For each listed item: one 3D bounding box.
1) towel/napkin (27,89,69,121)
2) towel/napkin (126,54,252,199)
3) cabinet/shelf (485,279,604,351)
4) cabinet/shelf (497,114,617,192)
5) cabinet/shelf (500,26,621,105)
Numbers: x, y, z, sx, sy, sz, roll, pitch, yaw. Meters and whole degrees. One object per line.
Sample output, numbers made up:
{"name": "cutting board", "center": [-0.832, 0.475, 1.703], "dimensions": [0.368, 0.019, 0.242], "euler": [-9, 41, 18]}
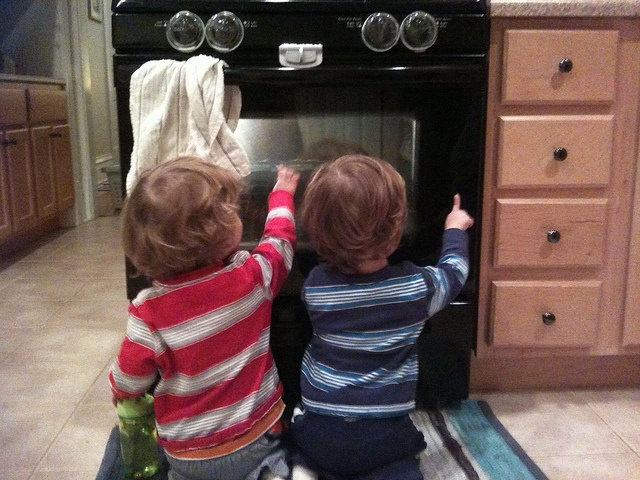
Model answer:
{"name": "towel/napkin", "center": [-1.688, -0.831, 3.246], "dimensions": [0.036, 0.177, 0.319], "euler": [9, 18, 13]}
{"name": "towel/napkin", "center": [-0.322, -0.258, 1.317], "dimensions": [0.304, 0.319, 0.099], "euler": [-1, 2, -1]}
{"name": "cabinet/shelf", "center": [0.623, 0.211, 1.582], "dimensions": [0.324, 0.198, 0.329], "euler": [1, 0, 2]}
{"name": "cabinet/shelf", "center": [0.605, -0.221, 1.353], "dimensions": [0.329, 0.200, 0.175], "euler": [0, 6, 1]}
{"name": "cabinet/shelf", "center": [0.600, -0.440, 1.382], "dimensions": [0.325, 0.187, 0.191], "euler": [-1, 6, -11]}
